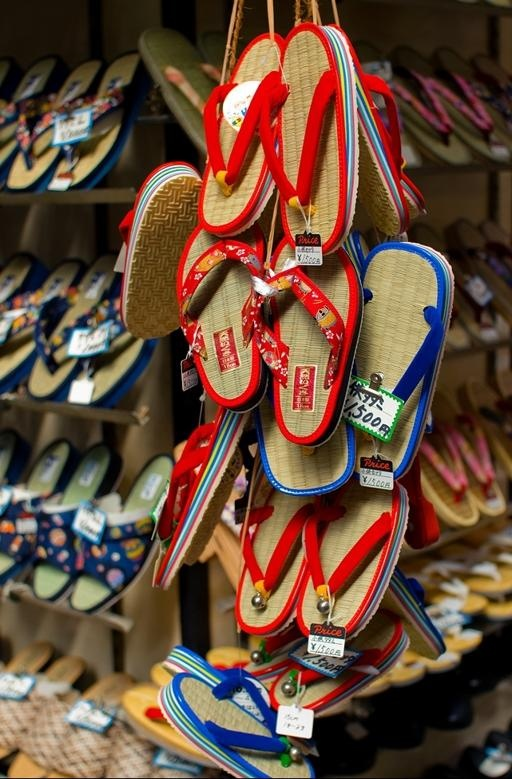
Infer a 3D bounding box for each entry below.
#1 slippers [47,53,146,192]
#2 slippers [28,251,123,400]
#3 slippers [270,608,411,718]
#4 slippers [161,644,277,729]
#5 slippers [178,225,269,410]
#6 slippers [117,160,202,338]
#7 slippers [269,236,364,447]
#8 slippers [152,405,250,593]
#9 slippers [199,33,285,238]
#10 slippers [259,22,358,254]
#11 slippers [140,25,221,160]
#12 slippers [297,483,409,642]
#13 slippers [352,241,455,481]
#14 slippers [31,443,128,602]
[{"bbox_3d":[-0.317,-0.561,1.255,0.122,0.319,0.070,24,-24,-5],"label":"slippers"},{"bbox_3d":[-0.422,-0.146,1.534,0.131,0.082,0.472,-15,40,36],"label":"slippers"},{"bbox_3d":[0.109,0.347,0.804,0.186,0.026,0.093,-33,34,-21],"label":"slippers"},{"bbox_3d":[-0.041,0.363,0.830,0.174,0.059,0.047,30,14,18],"label":"slippers"},{"bbox_3d":[-0.040,-0.082,0.742,0.095,0.231,0.040,-5,-9,26],"label":"slippers"},{"bbox_3d":[-0.151,-0.190,0.901,0.098,0.274,0.099,-2,42,-19],"label":"slippers"},{"bbox_3d":[0.072,-0.054,0.678,0.100,0.210,0.050,11,12,38],"label":"slippers"},{"bbox_3d":[-0.062,0.123,0.843,0.117,0.255,0.191,4,20,10],"label":"slippers"},{"bbox_3d":[0.003,-0.319,0.754,0.079,0.273,0.085,-8,-21,37],"label":"slippers"},{"bbox_3d":[0.074,-0.236,0.645,0.088,0.257,0.071,-4,5,40],"label":"slippers"},{"bbox_3d":[-0.137,-0.605,1.196,0.086,0.179,0.027,-32,-3,-30],"label":"slippers"},{"bbox_3d":[0.132,0.182,0.731,0.099,0.054,0.223,-11,45,45],"label":"slippers"},{"bbox_3d":[0.153,-0.012,0.698,0.098,0.282,0.068,13,11,19],"label":"slippers"},{"bbox_3d":[-0.418,0.301,1.433,0.113,0.383,0.105,18,1,29],"label":"slippers"}]
